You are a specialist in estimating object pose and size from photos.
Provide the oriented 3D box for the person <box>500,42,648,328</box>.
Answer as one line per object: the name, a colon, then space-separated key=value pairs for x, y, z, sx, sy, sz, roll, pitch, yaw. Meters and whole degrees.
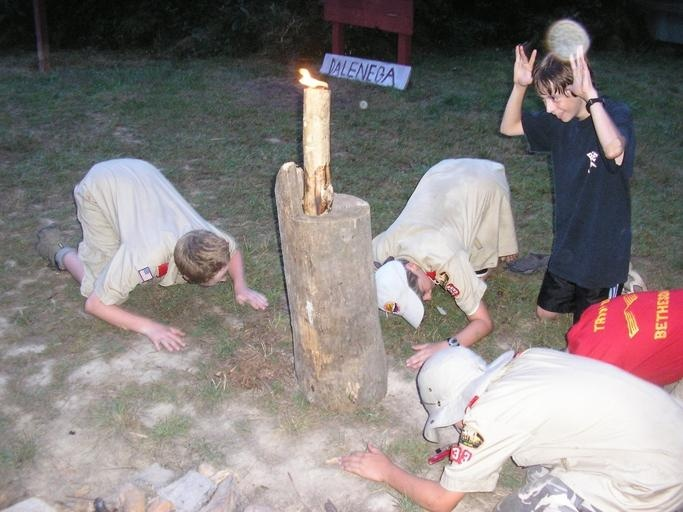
person: x=2.066 y=-0.526 z=6.286 sx=1.290 sy=2.656 sz=0.681 roll=23 pitch=29 yaw=38

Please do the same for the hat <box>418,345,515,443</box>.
hat: x=0.819 y=1.021 z=5.078 sx=0.368 sy=0.713 sz=0.649 roll=43 pitch=26 yaw=-1

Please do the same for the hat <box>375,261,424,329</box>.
hat: x=0.514 y=0.348 z=6.162 sx=0.297 sy=0.363 sz=0.592 roll=-26 pitch=80 yaw=-28

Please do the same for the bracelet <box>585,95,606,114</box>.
bracelet: x=2.106 y=-1.264 z=5.643 sx=0.141 sy=0.142 sz=0.179 roll=13 pitch=25 yaw=18
